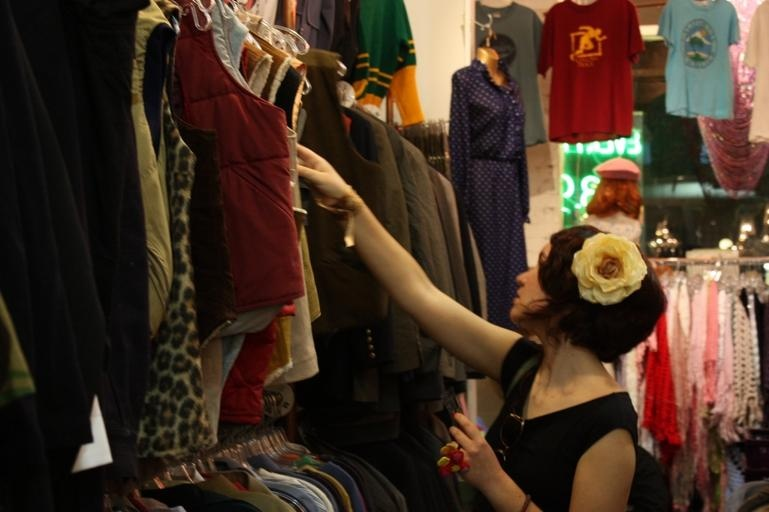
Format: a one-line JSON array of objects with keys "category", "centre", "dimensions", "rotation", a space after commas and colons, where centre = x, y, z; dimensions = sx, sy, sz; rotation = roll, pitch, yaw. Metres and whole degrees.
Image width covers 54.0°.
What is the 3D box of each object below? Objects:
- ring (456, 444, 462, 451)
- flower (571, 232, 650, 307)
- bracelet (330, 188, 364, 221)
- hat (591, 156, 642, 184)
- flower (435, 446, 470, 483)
[{"category": "ring", "centre": [0.197, 0.514, 2.013], "dimensions": [0.011, 0.011, 0.003], "rotation": [-18, -34, -14]}, {"category": "flower", "centre": [0.613, 0.036, 2.073], "dimensions": [0.191, 0.190, 0.079], "rotation": [-3, 2, 13]}, {"category": "bracelet", "centre": [-0.116, -0.156, 2.257], "dimensions": [0.076, 0.067, 0.066], "rotation": [-1, -2, 12]}, {"category": "hat", "centre": [1.503, -0.553, 4.791], "dimensions": [0.195, 0.088, 0.180], "rotation": [-13, 20, -34]}, {"category": "flower", "centre": [0.190, 0.568, 2.050], "dimensions": [0.072, 0.083, 0.035], "rotation": [8, 9, 17]}]
